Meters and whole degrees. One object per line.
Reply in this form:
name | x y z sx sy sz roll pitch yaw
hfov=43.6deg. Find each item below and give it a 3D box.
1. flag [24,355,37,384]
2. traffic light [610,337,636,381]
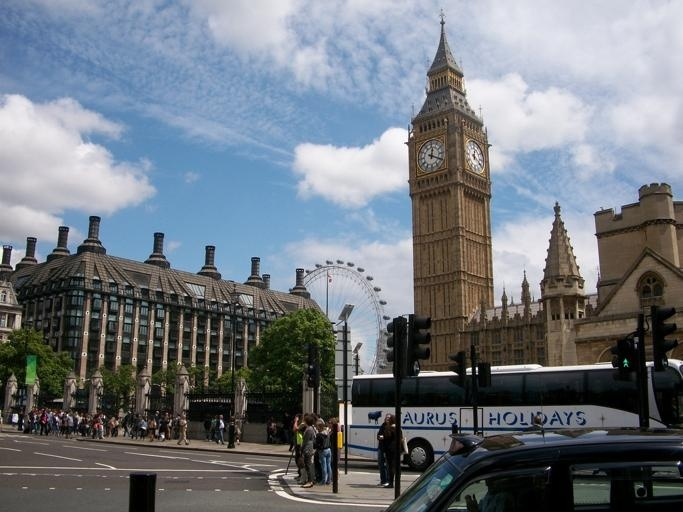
flag | -23.447 8.639 64.411 0.643 2.063 1.247 3 -14 -8
traffic light | 8.867 3.216 26.827 0.641 1.409 1.338 -1 -14 8
